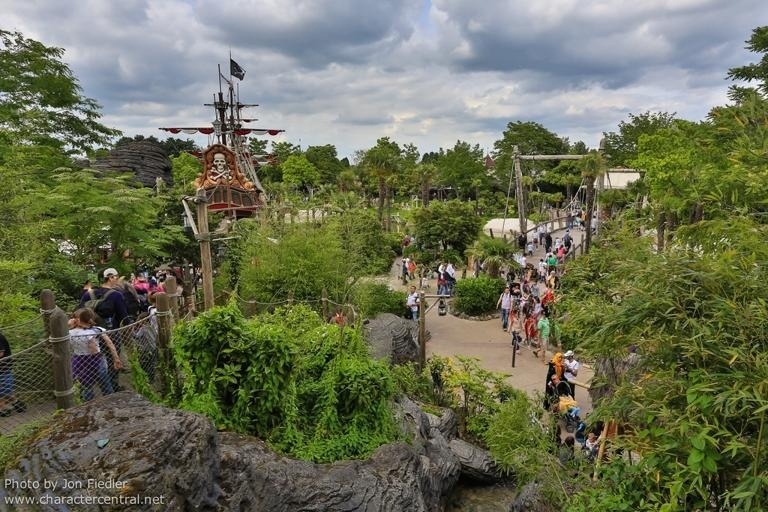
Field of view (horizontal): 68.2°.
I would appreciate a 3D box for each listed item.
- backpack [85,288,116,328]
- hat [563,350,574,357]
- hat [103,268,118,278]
[{"bbox_3d":[-5.836,1.112,11.742,0.570,0.660,0.458,-16,-16,-13],"label":"backpack"},{"bbox_3d":[4.609,2.414,13.986,0.220,0.129,0.149,-1,-2,-10],"label":"hat"},{"bbox_3d":[-6.318,0.396,13.140,0.203,0.154,0.286,3,17,16],"label":"hat"}]
